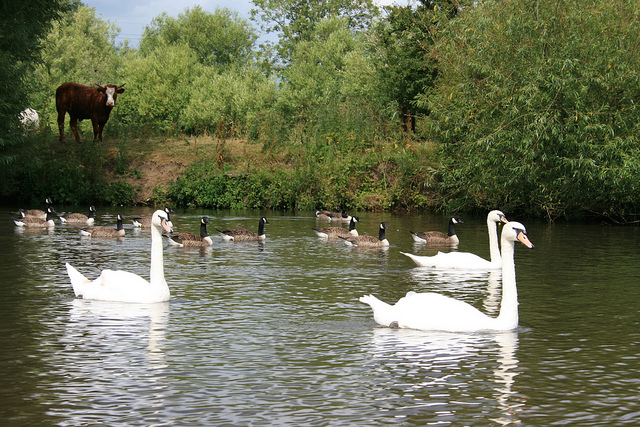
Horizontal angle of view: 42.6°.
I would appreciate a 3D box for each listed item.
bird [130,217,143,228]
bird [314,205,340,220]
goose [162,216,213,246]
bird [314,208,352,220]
[{"bbox_3d":[-9.984,0.466,44.773,0.657,0.411,0.283,38,28,26],"label":"bird"},{"bbox_3d":[0.522,-0.028,51.215,1.974,1.142,0.677,3,4,6],"label":"bird"},{"bbox_3d":[-6.112,0.616,38.333,3.082,1.702,1.474,2,-4,-1],"label":"goose"},{"bbox_3d":[0.795,0.076,50.893,2.213,1.215,0.707,4,7,10],"label":"bird"}]
